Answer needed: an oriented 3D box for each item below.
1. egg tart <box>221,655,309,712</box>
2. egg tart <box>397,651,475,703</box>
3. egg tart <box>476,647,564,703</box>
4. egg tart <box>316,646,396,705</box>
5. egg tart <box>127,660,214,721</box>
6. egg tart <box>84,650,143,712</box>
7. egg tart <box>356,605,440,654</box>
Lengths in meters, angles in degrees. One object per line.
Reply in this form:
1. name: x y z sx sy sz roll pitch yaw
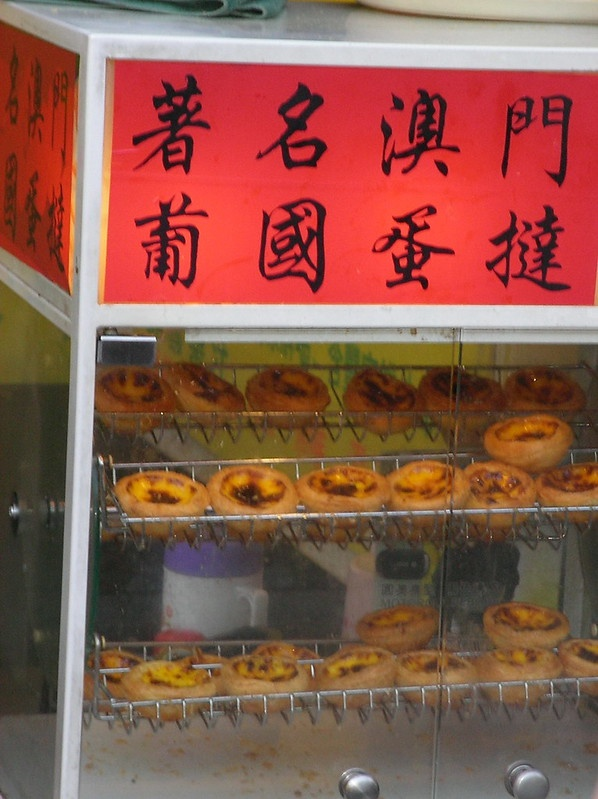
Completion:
1. egg tart: -0.055 0.404 1.524 0.092 0.035 0.097 1 -42 16
2. egg tart: 0.199 0.411 1.541 0.089 0.033 0.088 0 -8 2
3. egg tart: 0.339 0.424 1.622 0.133 0.058 0.134 0 6 41
4. egg tart: 0.088 0.413 1.565 0.120 0.047 0.133 -9 5 33
5. egg tart: -0.193 0.409 1.511 0.130 0.047 0.136 15 13 -18
6. egg tart: -0.261 0.385 1.426 0.041 0.093 0.088 -3 -7 34
7. egg tart: 0.145 0.329 1.517 0.083 0.034 0.083 -3 -6 -32
